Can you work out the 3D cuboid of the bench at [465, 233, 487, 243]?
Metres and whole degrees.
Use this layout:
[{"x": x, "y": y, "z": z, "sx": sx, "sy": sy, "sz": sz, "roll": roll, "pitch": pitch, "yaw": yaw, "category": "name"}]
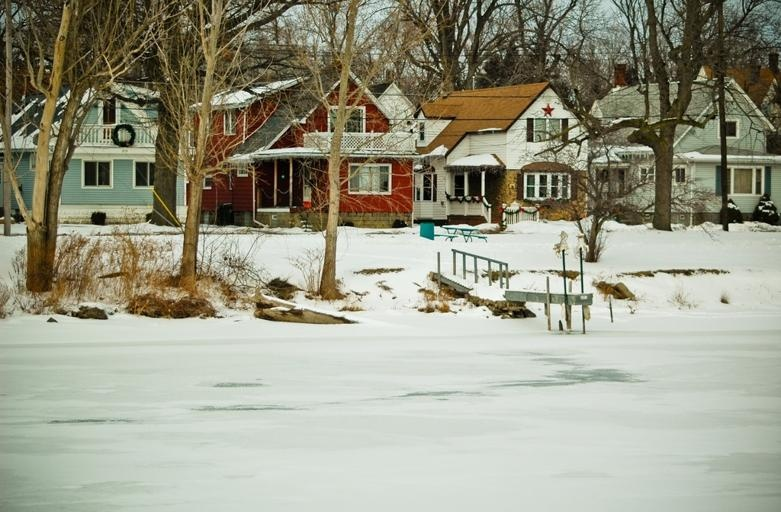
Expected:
[{"x": 3.323, "y": -0.652, "z": 48.248, "sx": 0.891, "sy": 0.386, "sz": 2.423, "roll": 0, "pitch": -2, "yaw": 3, "category": "bench"}]
